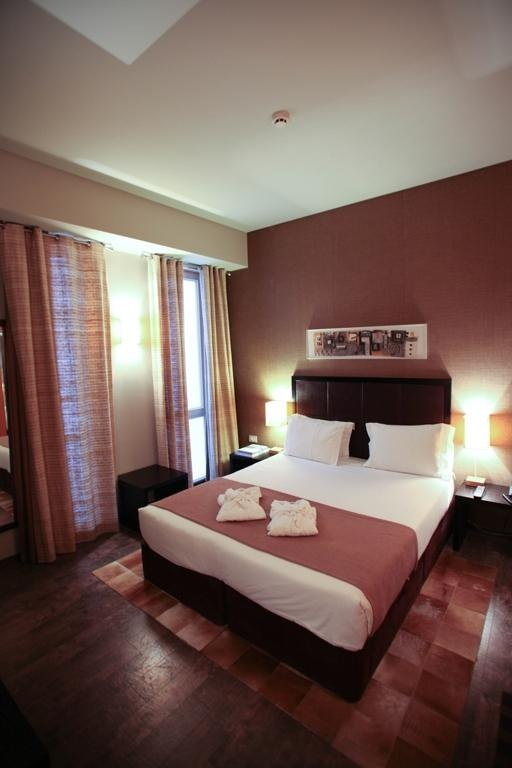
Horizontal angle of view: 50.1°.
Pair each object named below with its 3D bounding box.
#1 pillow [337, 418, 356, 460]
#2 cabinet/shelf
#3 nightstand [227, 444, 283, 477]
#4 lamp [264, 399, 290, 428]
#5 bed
[{"bbox_3d":[0.764,0.462,4.553,0.051,0.364,0.313,7,6,33],"label":"pillow"},{"bbox_3d":[-0.880,0.878,4.538,0.426,0.481,0.573,6,14,32],"label":"cabinet/shelf"},{"bbox_3d":[-0.015,0.662,5.183,0.373,0.412,0.285,8,15,41],"label":"nightstand"},{"bbox_3d":[0.204,0.266,5.120,0.225,0.326,0.232,-3,-5,40],"label":"lamp"},{"bbox_3d":[0.511,0.607,3.500,1.499,1.225,1.867,5,11,35],"label":"bed"}]
